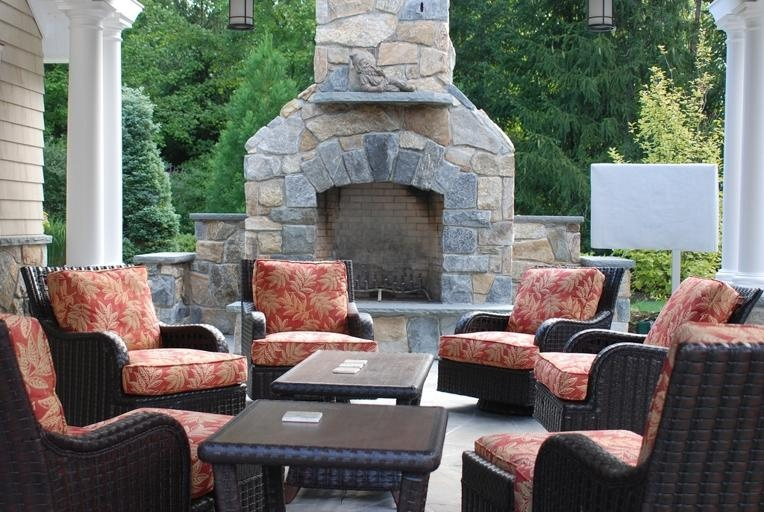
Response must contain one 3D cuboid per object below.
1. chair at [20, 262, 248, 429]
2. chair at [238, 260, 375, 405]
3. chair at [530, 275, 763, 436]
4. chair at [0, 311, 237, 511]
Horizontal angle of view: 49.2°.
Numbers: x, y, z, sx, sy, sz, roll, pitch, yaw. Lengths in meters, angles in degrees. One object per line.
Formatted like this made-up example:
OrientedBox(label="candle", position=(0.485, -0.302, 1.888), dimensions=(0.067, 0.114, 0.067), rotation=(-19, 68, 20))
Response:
OrientedBox(label="chair", position=(-1.564, 0.544, 5.560), dimensions=(1.284, 1.117, 0.958), rotation=(0, 0, 33))
OrientedBox(label="chair", position=(-0.624, 0.560, 6.256), dimensions=(0.969, 1.081, 1.033), rotation=(1, -5, -8))
OrientedBox(label="chair", position=(1.705, 0.594, 5.544), dimensions=(1.268, 1.142, 0.954), rotation=(1, -2, 10))
OrientedBox(label="chair", position=(-1.197, 0.720, 4.393), dimensions=(1.284, 1.219, 0.746), rotation=(-1, 4, -14))
